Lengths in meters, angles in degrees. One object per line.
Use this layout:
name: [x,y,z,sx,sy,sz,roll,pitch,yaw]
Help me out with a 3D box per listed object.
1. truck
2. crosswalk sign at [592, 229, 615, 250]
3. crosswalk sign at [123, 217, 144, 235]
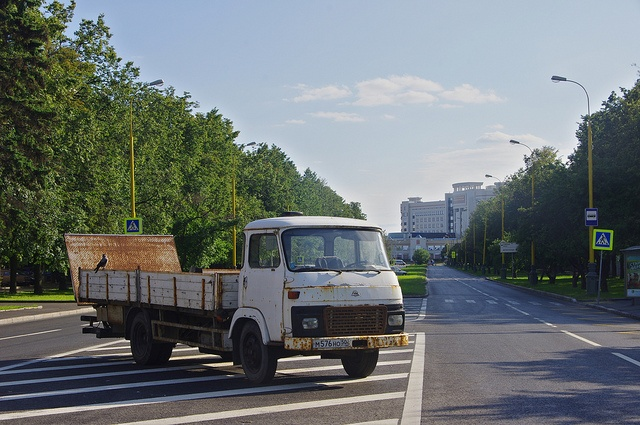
truck: [-3.263,2.509,20.982,4.674,4.066,10.491,3,-7,-43]
crosswalk sign: [15.743,1.544,38.941,1.259,1.332,0.154,3,-8,9]
crosswalk sign: [-10.318,0.781,38.225,1.143,1.183,0.161,-1,-20,-18]
